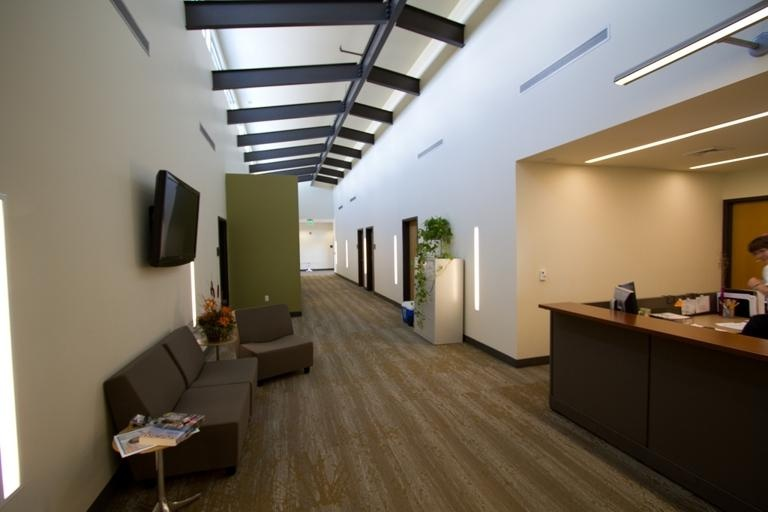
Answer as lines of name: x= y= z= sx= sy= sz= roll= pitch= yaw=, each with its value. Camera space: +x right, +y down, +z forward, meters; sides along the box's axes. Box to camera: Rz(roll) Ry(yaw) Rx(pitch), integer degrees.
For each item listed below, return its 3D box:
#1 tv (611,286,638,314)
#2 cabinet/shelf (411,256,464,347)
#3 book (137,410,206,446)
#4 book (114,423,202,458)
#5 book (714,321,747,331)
tv: x=2.635 y=0.494 z=5.209 sx=0.091 sy=0.262 sz=0.273 roll=-4 pitch=2 yaw=0
cabinet/shelf: x=0.908 y=0.748 z=7.750 sx=0.467 sy=1.383 sz=1.392 roll=-1 pitch=-1 yaw=-8
book: x=-1.846 y=1.489 z=4.074 sx=0.318 sy=0.083 sz=0.334 roll=1 pitch=5 yaw=10
book: x=-1.940 y=1.549 z=4.033 sx=0.639 sy=0.144 sz=0.282 roll=-1 pitch=3 yaw=-15
book: x=3.860 y=0.785 z=5.298 sx=0.236 sy=0.069 sz=0.220 roll=-2 pitch=0 yaw=1
